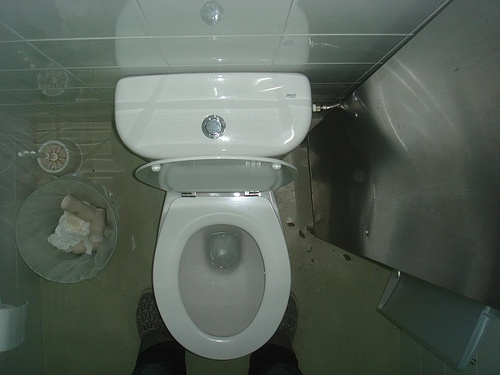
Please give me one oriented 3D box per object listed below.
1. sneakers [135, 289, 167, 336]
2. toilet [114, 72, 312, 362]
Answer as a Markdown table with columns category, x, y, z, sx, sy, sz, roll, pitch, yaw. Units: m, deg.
| category | x | y | z | sx | sy | sz | roll | pitch | yaw |
| --- | --- | --- | --- | --- | --- | --- | --- | --- | --- |
| sneakers | -0.438 | 0.551 | 1.710 | 0.091 | 0.112 | 0.299 | -10 | 86 | -13 |
| toilet | -0.108 | 0.162 | 1.503 | 0.655 | 0.622 | 1.086 | -2 | 80 | 0 |
